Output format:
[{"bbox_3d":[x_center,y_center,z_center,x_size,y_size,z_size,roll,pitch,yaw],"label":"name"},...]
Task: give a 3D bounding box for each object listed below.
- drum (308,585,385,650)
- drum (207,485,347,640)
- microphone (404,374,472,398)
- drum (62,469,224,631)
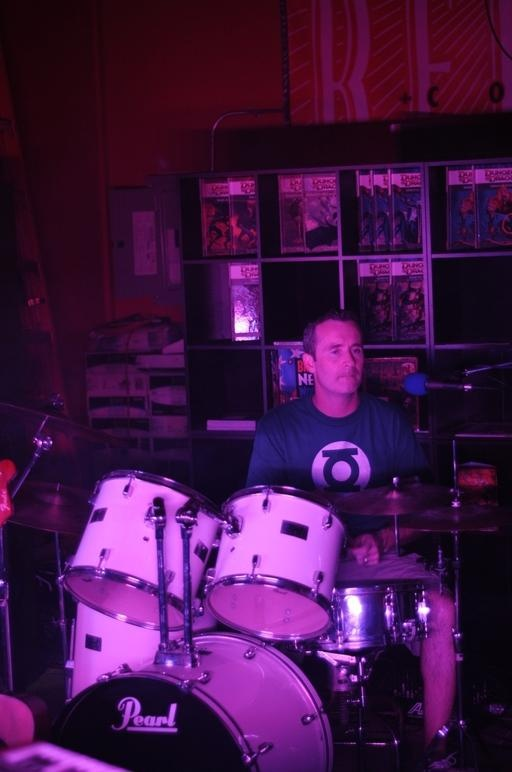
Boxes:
[{"bbox_3d":[0.272,0.598,2.035,0.212,0.153,0.202,-3,-4,0],"label":"drum"},{"bbox_3d":[0.058,0.504,2.021,0.394,0.310,0.365,6,-48,7],"label":"drum"},{"bbox_3d":[0.591,-0.003,2.488,0.260,0.096,0.098,1,0,12],"label":"microphone"},{"bbox_3d":[-0.299,0.436,1.976,0.416,0.428,0.274,-2,-5,-5],"label":"drum"}]
